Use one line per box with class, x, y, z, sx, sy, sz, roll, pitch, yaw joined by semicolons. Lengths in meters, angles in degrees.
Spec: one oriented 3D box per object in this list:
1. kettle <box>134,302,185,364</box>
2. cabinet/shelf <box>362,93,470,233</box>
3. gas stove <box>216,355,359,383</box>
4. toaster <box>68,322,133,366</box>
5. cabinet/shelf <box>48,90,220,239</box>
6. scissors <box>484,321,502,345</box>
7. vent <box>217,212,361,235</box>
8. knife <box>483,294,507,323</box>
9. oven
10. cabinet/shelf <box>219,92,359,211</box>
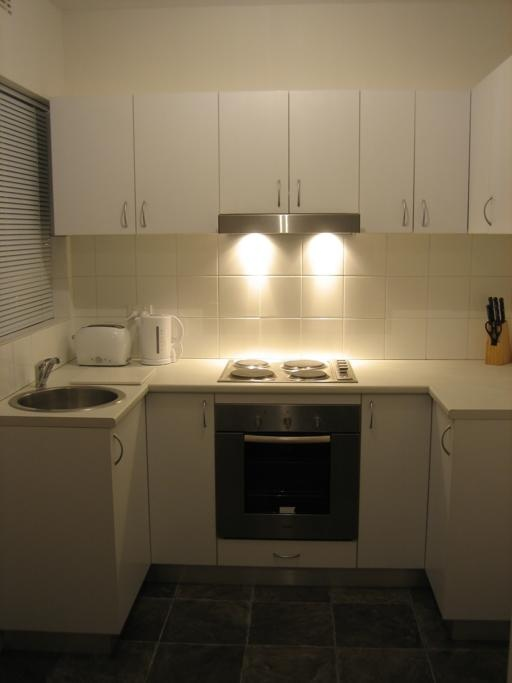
kettle;-0.457;-0.027;2.624;0.233;0.259;0.249;-1;4;-8
cabinet/shelf;0.705;-1.012;2.550;0.485;0.862;0.452;3;-27;15
gas stove;0.140;0.120;2.423;0.570;0.041;0.509;0;5;5
toaster;-0.685;0.021;2.500;0.226;0.242;0.155;0;2;0
cabinet/shelf;-0.525;-0.655;2.487;0.693;0.734;0.320;-2;-22;-12
scissors;1.096;-0.039;2.546;0.055;0.113;0.033;0;1;-2
vent;0.132;-0.485;2.284;0.585;0.079;0.083;0;4;6
knife;1.113;-0.149;2.578;0.068;0.159;0.040;0;-9;5
oven;0.136;0.375;2.339;0.560;0.776;0.463;0;1;4
cabinet/shelf;0.153;-0.815;2.309;0.329;0.413;0.152;0;6;3
